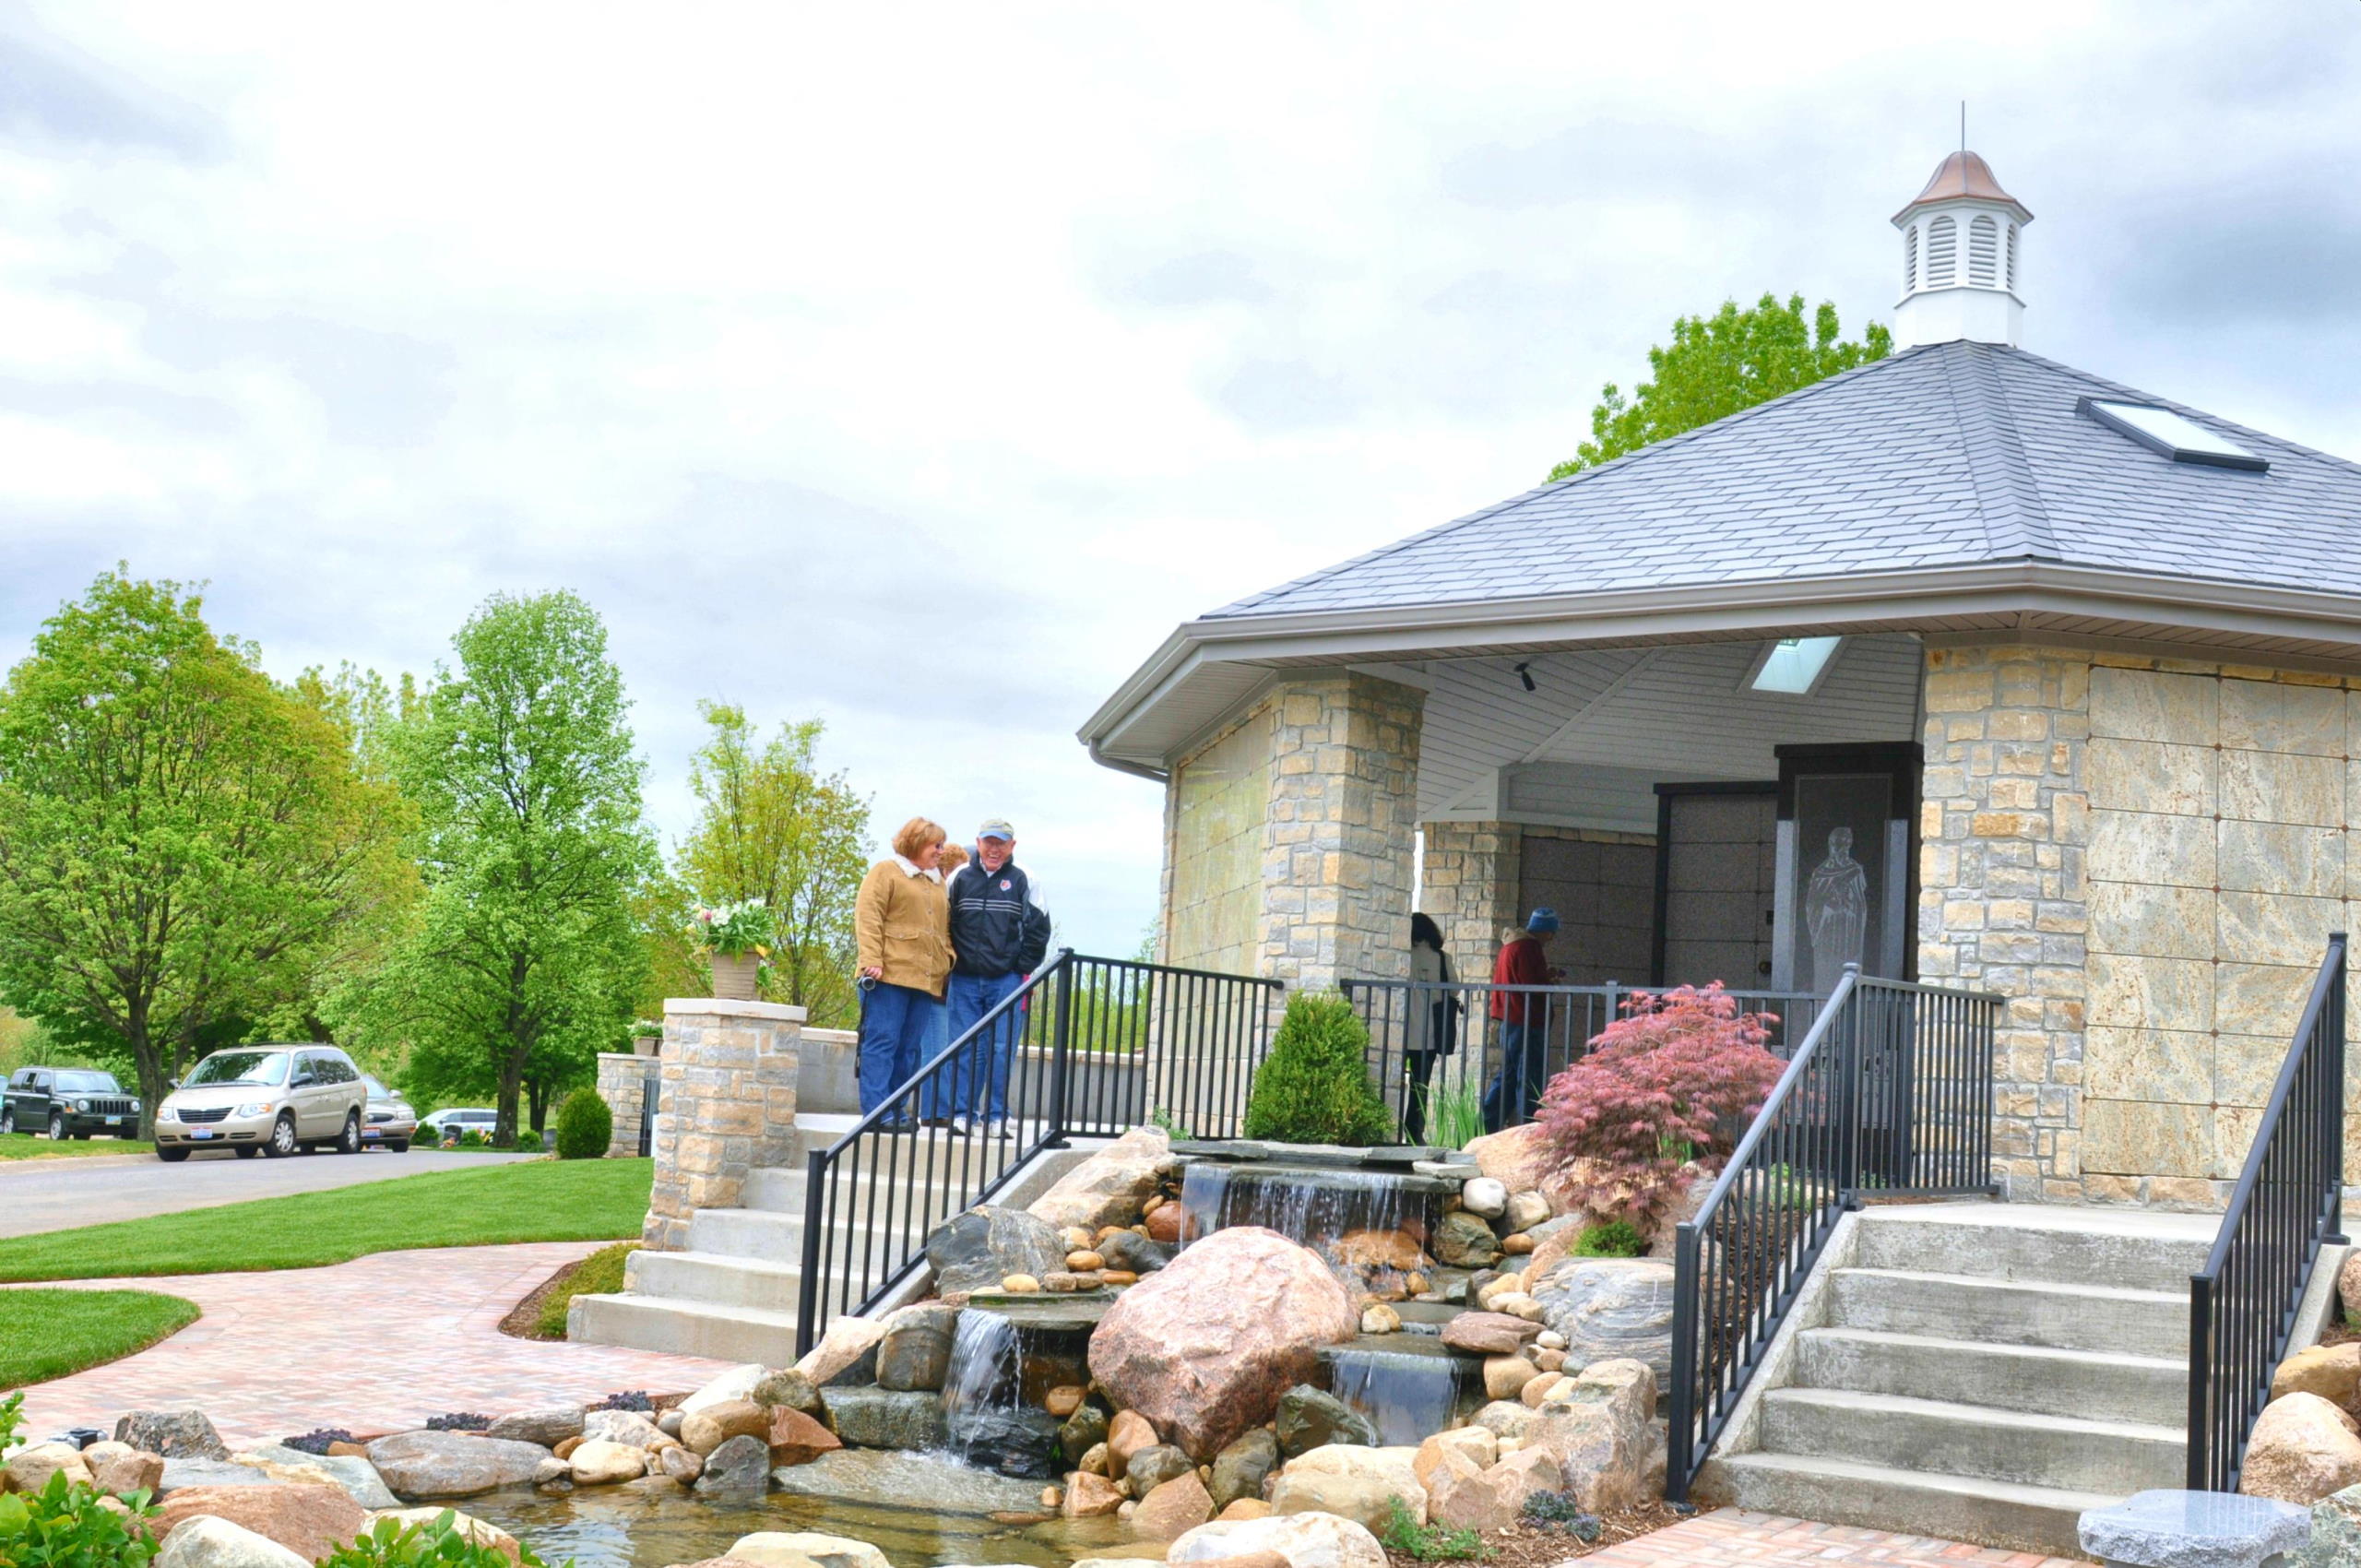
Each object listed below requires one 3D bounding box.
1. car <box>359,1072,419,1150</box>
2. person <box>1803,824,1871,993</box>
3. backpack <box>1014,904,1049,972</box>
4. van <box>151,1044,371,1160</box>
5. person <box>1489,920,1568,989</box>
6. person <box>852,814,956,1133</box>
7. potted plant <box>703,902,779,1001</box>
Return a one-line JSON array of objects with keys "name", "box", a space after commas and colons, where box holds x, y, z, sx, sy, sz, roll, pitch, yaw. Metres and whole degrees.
[{"name": "car", "box": [-14.963, 6.268, 39.150, 1.034, 0.784, 2.303, 3, -8, -27]}, {"name": "person", "box": [5.401, 1.010, 17.245, 0.513, 1.394, 0.313, 2, -8, 13]}, {"name": "backpack", "box": [-1.164, 1.203, 16.007, 0.167, 0.431, 0.310, 8, 5, -1]}, {"name": "van", "box": [-14.643, 5.036, 33.215, 1.917, 1.780, 3.205, 3, -8, 5]}, {"name": "person", "box": [3.030, 1.516, 18.647, 0.503, 0.735, 0.775, 0, 2, -7]}, {"name": "person", "box": [-2.135, 1.322, 15.674, 0.813, 2.232, 0.472, 8, -8, -27]}, {"name": "potted plant", "box": [-3.662, 1.400, 17.280, 0.689, 0.709, 0.642, 0, -8, 20]}]
